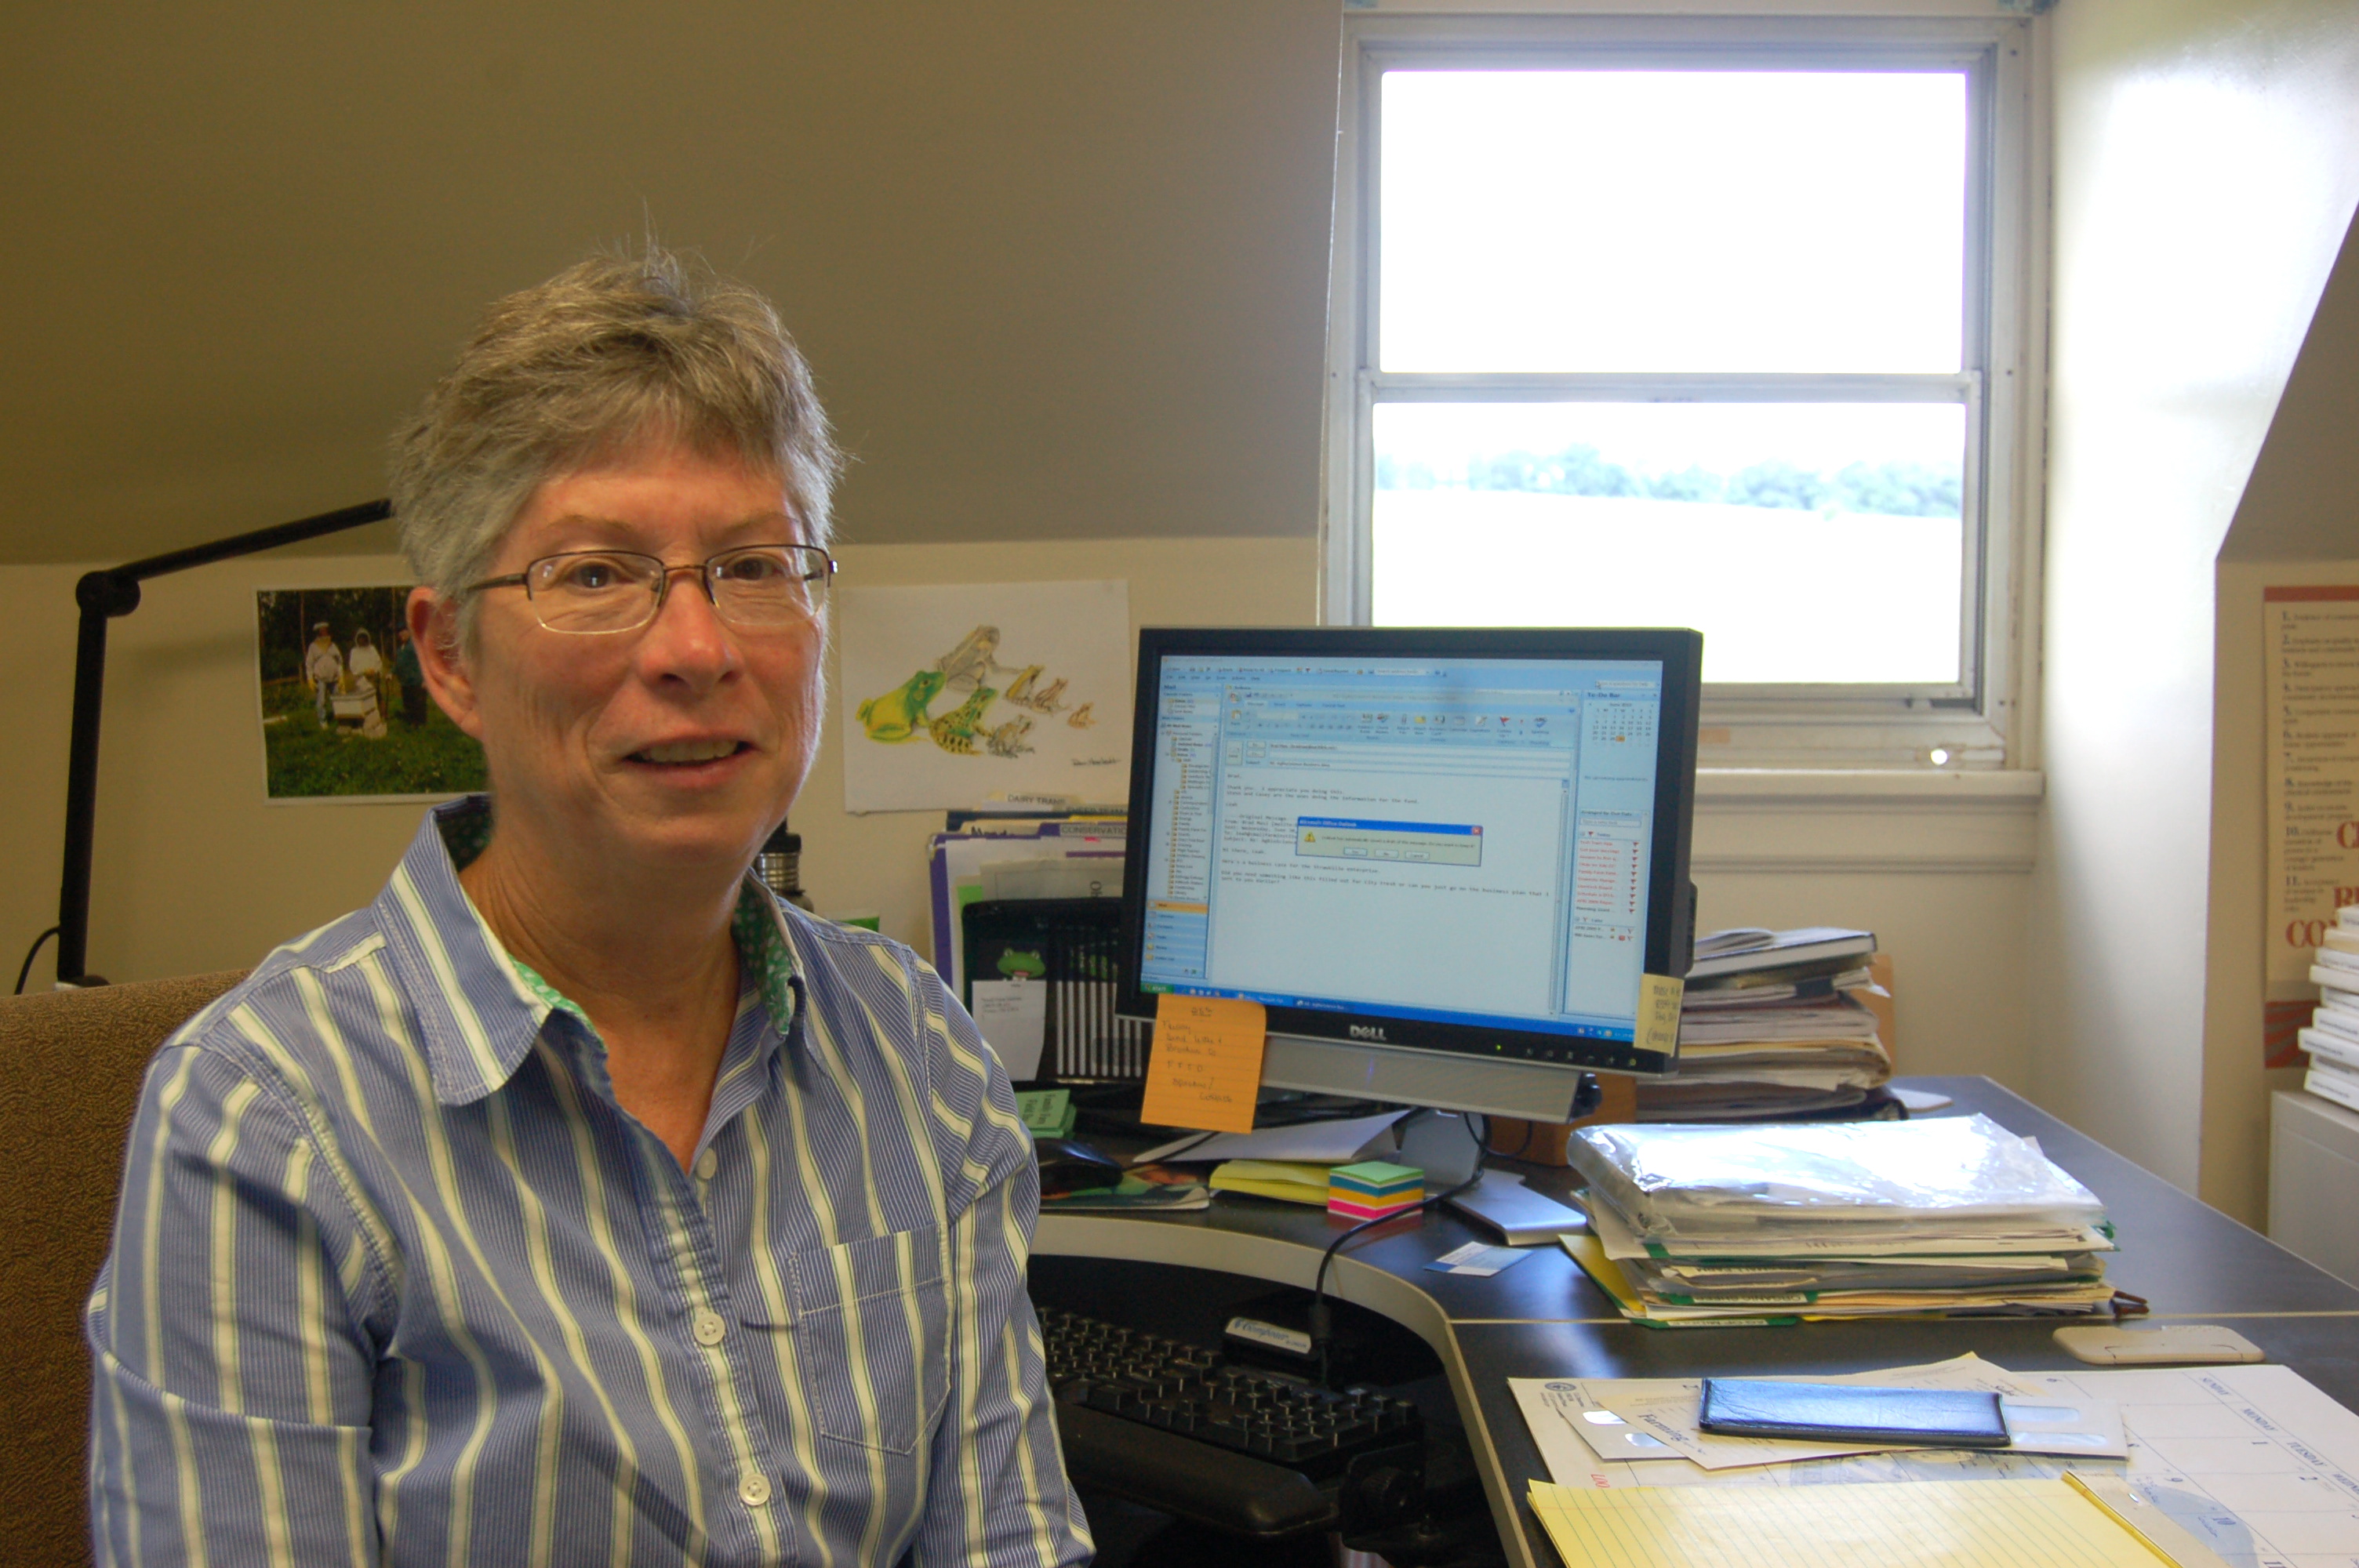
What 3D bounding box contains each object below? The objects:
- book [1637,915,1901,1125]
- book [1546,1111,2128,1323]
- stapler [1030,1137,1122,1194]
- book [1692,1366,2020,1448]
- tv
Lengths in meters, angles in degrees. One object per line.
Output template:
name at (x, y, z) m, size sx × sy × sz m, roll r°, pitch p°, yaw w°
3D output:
book at (0.701, 0.281, 2.083) m, size 0.254 × 0.112 × 0.250 m, roll 0°, pitch 1°, yaw -3°
book at (0.638, 0.432, 1.718) m, size 0.267 × 0.080 × 0.268 m, roll 0°, pitch 4°, yaw -3°
stapler at (-0.119, 0.433, 1.990) m, size 0.110 × 0.034 × 0.108 m, roll 2°, pitch 7°, yaw -1°
book at (0.574, 0.538, 1.514) m, size 0.160 × 0.016 × 0.094 m, roll 0°, pitch 3°, yaw 6°
tv at (0.268, 0.102, 2.022) m, size 0.734 × 0.520 × 0.220 m, roll 2°, pitch 5°, yaw 38°
